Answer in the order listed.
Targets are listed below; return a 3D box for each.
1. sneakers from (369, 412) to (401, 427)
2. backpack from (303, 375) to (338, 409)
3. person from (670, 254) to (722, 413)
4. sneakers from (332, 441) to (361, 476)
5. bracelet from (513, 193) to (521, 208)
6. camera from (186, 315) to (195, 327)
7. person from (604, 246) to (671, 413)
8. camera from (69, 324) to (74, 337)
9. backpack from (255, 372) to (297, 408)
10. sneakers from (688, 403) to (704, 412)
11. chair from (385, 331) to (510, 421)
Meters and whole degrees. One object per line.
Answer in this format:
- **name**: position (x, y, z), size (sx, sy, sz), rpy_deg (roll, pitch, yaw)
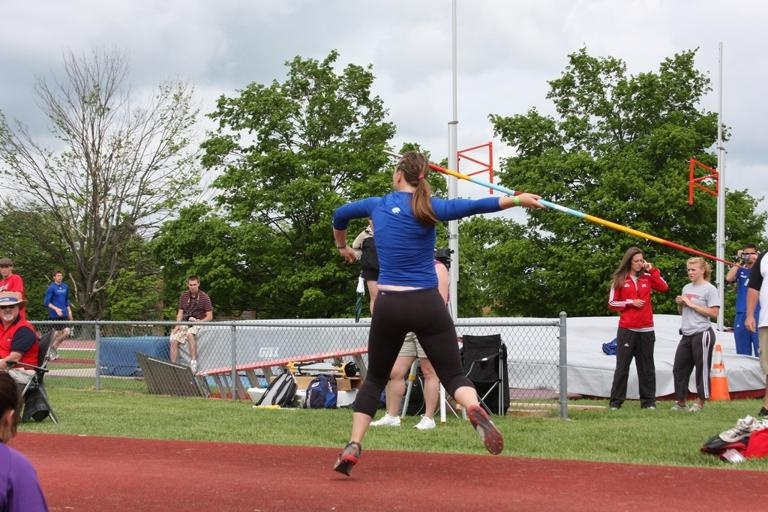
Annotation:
- **sneakers**: position (-0.004, 2.300, 12.104), size (0.431, 0.153, 0.162), rpy_deg (0, -11, -1)
- **backpack**: position (-1.078, 2.372, 14.906), size (0.433, 0.562, 0.572), rpy_deg (-2, 35, 10)
- **person**: position (5.019, 1.215, 13.971), size (0.702, 2.485, 0.959), rpy_deg (-1, -6, 19)
- **sneakers**: position (-0.403, 2.135, 9.186), size (0.251, 0.343, 0.116), rpy_deg (2, -6, -17)
- **bracelet**: position (1.398, -0.593, 9.147), size (0.090, 0.123, 0.133), rpy_deg (-8, 18, 8)
- **camera**: position (-4.072, 1.337, 18.015), size (0.288, 0.276, 0.096), rpy_deg (0, -2, 7)
- **person**: position (4.112, 1.160, 14.216), size (0.917, 2.629, 0.621), rpy_deg (4, -6, -25)
- **camera**: position (-6.481, 1.534, 17.821), size (0.058, 0.201, 0.245), rpy_deg (5, -7, -34)
- **backpack**: position (-1.855, 2.361, 15.127), size (0.427, 0.765, 0.245), rpy_deg (28, -33, 33)
- **sneakers**: position (4.904, 2.401, 13.704), size (0.119, 0.128, 0.327), rpy_deg (-9, -18, 42)
- **chair**: position (1.040, 1.913, 13.841), size (1.473, 1.925, 1.471), rpy_deg (19, -25, -40)
